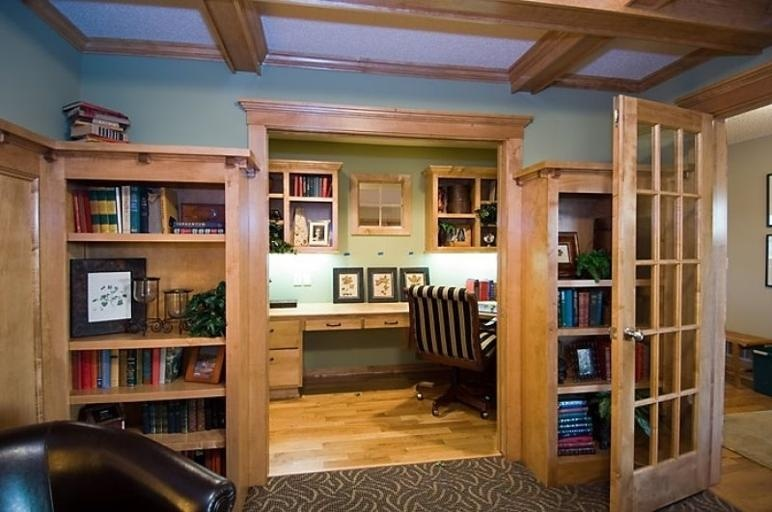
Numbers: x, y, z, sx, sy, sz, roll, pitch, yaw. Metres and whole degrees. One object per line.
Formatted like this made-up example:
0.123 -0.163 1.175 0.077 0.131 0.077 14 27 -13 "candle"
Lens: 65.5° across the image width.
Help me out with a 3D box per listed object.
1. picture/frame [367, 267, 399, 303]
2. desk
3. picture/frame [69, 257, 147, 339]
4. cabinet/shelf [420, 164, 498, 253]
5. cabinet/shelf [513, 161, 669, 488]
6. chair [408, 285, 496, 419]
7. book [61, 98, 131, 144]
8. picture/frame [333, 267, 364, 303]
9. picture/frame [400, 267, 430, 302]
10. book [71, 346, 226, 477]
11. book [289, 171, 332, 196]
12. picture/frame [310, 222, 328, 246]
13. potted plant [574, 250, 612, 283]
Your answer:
-0.055 0.321 6.592 0.422 0.435 0.047 1 -8 -12 "picture/frame"
-0.556 0.947 6.124 1.288 0.910 0.565 -3 -1 -13 "desk"
-2.008 0.307 4.287 0.642 0.691 0.055 0 -1 -32 "picture/frame"
0.775 -0.514 6.581 1.127 0.930 0.343 0 -2 -11 "cabinet/shelf"
1.438 0.519 4.737 0.759 2.553 0.415 -3 0 -8 "cabinet/shelf"
0.648 0.884 5.826 0.819 1.240 0.965 -3 -1 13 "chair"
-2.106 -0.956 4.343 0.419 0.268 0.290 -2 4 -44 "book"
-0.431 0.317 6.518 0.421 0.436 0.039 1 -6 -17 "picture/frame"
0.278 0.292 6.206 0.422 0.406 0.032 1 -11 -8 "picture/frame"
-1.642 1.044 4.090 1.111 0.906 0.340 0 -2 -14 "book"
-0.786 -0.742 6.284 0.478 0.228 0.287 2 -1 3 "book"
-0.726 -0.233 6.401 0.267 0.306 0.027 1 -10 -9 "picture/frame"
1.633 0.075 4.726 0.256 0.159 0.257 2 5 38 "potted plant"
